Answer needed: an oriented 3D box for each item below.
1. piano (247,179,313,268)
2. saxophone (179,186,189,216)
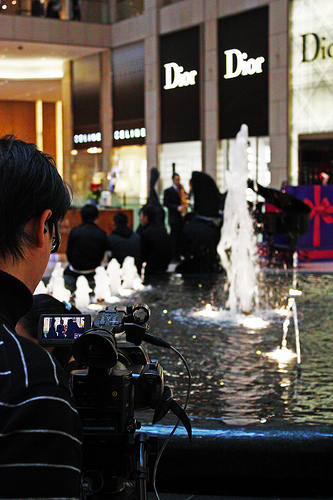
[{"bbox_3d":[1.168,-0.313,7.332,0.617,0.798,1.127,0,4,11],"label":"piano"},{"bbox_3d":[0.188,-0.520,7.501,0.141,0.147,0.501,14,23,1],"label":"saxophone"}]
